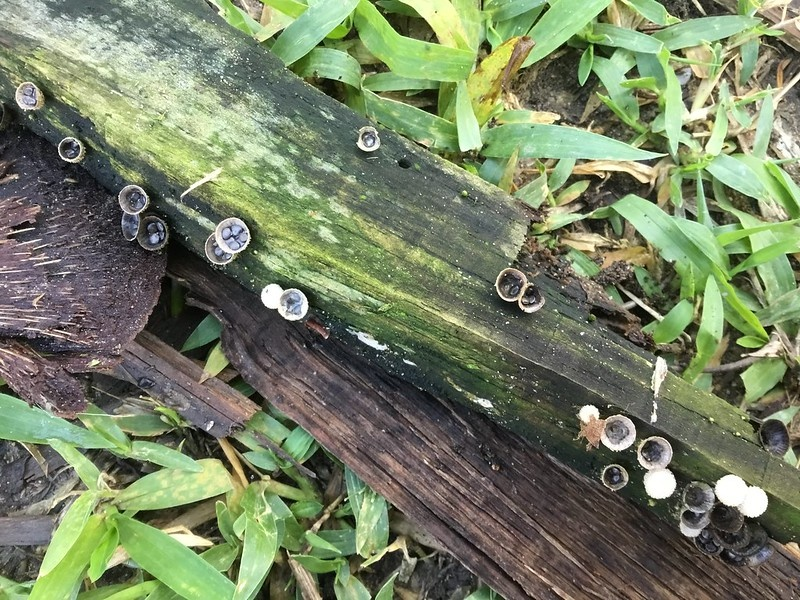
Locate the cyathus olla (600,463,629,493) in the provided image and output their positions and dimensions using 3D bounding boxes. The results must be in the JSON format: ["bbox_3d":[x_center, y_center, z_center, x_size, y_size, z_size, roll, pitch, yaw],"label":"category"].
[{"bbox_3d":[1.209,0.977,4.013,0.136,0.114,0.143,-40,80,25],"label":"cyathus olla"}]

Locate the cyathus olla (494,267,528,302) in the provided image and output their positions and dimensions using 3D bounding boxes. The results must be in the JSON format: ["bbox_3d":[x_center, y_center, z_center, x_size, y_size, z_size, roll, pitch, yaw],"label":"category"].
[{"bbox_3d":[0.614,-0.087,3.949,0.164,0.078,0.190,29,94,5],"label":"cyathus olla"}]

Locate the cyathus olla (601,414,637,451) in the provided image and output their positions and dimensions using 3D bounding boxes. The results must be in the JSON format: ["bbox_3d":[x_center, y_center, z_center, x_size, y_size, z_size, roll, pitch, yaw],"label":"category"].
[{"bbox_3d":[1.207,0.742,3.911,0.186,0.146,0.169,8,55,20],"label":"cyathus olla"}]

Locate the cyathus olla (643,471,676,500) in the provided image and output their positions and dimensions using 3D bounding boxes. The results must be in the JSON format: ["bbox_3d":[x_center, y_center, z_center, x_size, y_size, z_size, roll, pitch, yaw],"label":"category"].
[{"bbox_3d":[1.427,1.018,3.899,0.154,0.159,0.119,-9,51,8],"label":"cyathus olla"}]

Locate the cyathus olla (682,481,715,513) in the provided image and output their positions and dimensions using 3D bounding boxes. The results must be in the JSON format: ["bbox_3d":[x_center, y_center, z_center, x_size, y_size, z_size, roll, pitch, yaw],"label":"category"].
[{"bbox_3d":[1.631,1.077,3.878,0.161,0.104,0.143,8,55,20],"label":"cyathus olla"}]

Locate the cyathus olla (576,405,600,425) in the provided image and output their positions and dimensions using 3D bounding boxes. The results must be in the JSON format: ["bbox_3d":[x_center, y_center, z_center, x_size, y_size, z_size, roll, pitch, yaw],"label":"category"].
[{"bbox_3d":[1.045,0.635,3.931,0.110,0.061,0.082,-4,52,12],"label":"cyathus olla"}]

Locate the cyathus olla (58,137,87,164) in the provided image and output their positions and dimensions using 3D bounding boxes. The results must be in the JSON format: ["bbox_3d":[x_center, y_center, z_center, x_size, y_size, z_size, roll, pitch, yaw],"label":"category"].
[{"bbox_3d":[-1.910,-0.870,4.126,0.143,0.058,0.146,18,93,-11],"label":"cyathus olla"}]

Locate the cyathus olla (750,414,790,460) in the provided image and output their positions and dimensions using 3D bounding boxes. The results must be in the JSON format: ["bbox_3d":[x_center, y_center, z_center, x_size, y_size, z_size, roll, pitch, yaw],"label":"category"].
[{"bbox_3d":[2.107,0.783,3.963,0.213,0.082,0.198,44,72,-9],"label":"cyathus olla"}]

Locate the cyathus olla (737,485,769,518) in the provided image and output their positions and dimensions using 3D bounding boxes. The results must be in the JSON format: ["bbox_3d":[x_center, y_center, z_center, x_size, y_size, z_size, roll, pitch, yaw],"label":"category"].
[{"bbox_3d":[1.905,1.089,3.813,0.113,0.107,0.146,26,63,30],"label":"cyathus olla"}]

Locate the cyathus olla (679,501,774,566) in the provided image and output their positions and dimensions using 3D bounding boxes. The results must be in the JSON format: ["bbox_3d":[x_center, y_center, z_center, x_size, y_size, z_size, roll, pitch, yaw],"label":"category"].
[{"bbox_3d":[1.820,1.288,3.988,0.466,0.256,0.307,-1,98,19],"label":"cyathus olla"}]

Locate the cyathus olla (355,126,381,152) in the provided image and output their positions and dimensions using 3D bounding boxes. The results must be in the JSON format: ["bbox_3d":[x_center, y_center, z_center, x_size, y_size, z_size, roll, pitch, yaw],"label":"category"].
[{"bbox_3d":[-0.186,-0.915,4.072,0.130,0.092,0.143,1,53,15],"label":"cyathus olla"}]

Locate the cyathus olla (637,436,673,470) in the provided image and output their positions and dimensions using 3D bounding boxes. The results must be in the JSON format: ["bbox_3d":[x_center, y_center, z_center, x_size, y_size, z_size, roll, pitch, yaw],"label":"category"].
[{"bbox_3d":[1.389,0.858,3.928,0.180,0.197,0.186,-4,76,10],"label":"cyathus olla"}]

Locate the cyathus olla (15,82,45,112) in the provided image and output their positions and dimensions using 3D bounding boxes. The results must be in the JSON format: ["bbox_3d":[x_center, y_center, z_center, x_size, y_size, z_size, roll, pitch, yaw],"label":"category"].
[{"bbox_3d":[-2.131,-1.161,4.075,0.127,0.144,0.136,26,63,30],"label":"cyathus olla"}]
